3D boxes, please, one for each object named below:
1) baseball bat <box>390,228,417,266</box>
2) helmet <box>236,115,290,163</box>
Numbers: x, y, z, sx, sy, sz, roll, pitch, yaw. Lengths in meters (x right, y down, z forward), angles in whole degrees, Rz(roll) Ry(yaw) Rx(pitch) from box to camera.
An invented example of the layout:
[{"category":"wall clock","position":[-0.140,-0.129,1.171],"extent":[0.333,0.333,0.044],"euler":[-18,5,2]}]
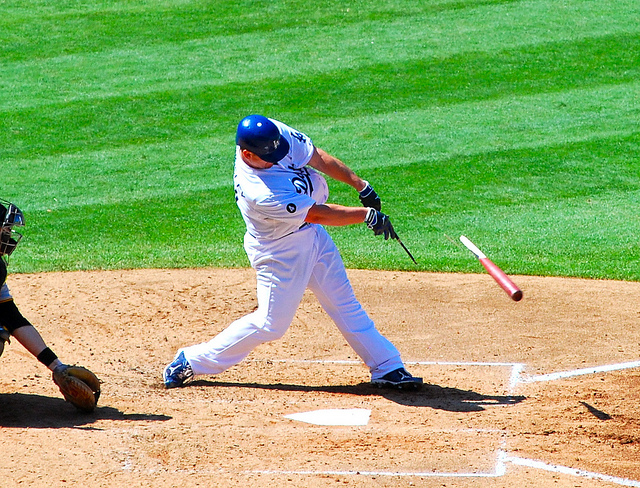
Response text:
[{"category":"baseball bat","position":[1.065,0.054,17.793],"extent":[0.126,0.897,0.070],"euler":[-1,62,33]},{"category":"helmet","position":[-0.617,-1.169,14.739],"extent":[0.679,0.315,0.441],"euler":[21,48,11]}]
